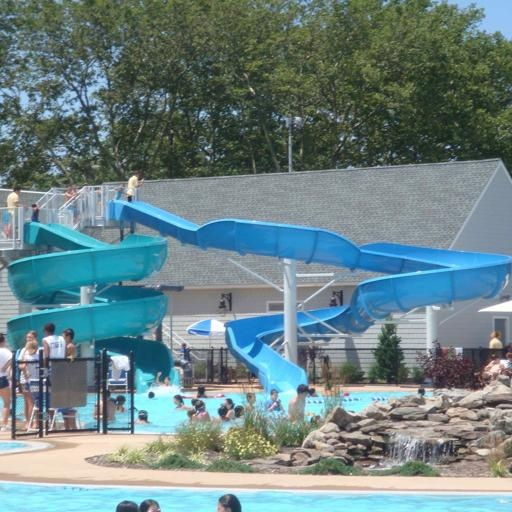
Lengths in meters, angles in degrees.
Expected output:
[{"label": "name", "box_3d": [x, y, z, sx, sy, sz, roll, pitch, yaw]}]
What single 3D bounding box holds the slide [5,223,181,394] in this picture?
[{"label": "slide", "box_3d": [-5.315, 1.285, 46.872, 3.706, 6.589, 3.420, 4, -8, -24]}]
